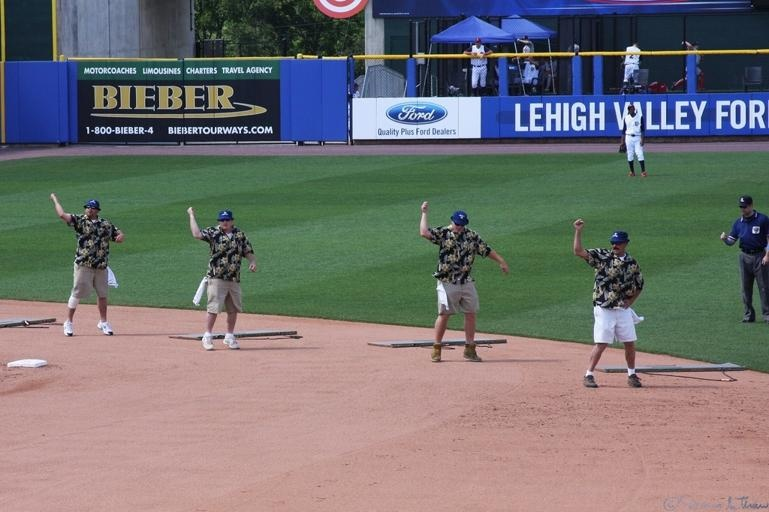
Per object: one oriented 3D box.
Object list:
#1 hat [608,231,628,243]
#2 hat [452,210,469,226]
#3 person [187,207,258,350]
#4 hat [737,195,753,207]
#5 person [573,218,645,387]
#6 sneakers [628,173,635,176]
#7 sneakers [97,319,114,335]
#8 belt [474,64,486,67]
[{"bbox_3d":[5.147,-0.371,32.301,0.330,0.301,0.390,0,10,11],"label":"hat"},{"bbox_3d":[1.716,-0.827,33.682,0.362,0.171,0.441,3,16,-6],"label":"hat"},{"bbox_3d":[-3.806,0.528,34.679,0.913,3.411,1.213,8,15,41],"label":"person"},{"bbox_3d":[8.892,-1.301,36.255,0.247,0.257,0.303,-2,10,2],"label":"hat"},{"bbox_3d":[4.967,1.071,32.370,1.416,3.750,0.847,-2,11,3],"label":"person"},{"bbox_3d":[8.322,-2.704,49.496,0.158,0.145,0.403,-1,1,7],"label":"sneakers"},{"bbox_3d":[-6.784,1.781,36.003,0.227,0.210,0.608,-8,12,-35],"label":"sneakers"},{"bbox_3d":[3.690,-7.360,57.386,0.441,0.113,0.182,-1,10,2],"label":"belt"}]
